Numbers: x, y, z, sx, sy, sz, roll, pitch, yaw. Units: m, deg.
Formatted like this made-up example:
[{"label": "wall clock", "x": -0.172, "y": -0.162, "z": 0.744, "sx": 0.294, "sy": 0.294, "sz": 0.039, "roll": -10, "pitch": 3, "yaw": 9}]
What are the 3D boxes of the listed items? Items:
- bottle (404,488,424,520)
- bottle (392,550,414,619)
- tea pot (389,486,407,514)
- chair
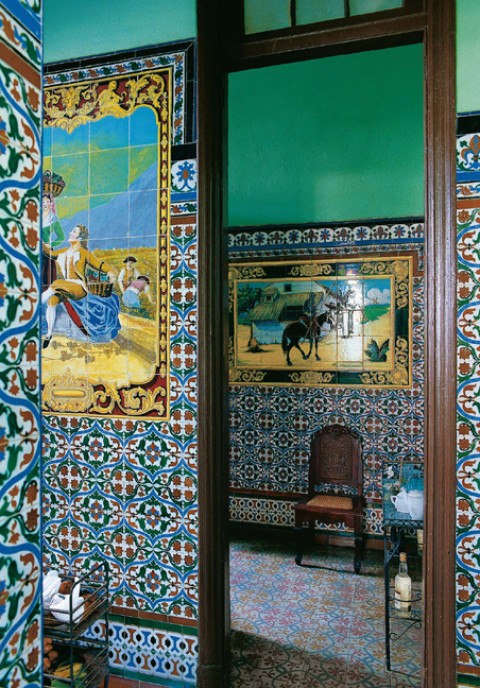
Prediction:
[{"label": "bottle", "x": 0.737, "y": 0.671, "z": 3.509, "sx": 0.051, "sy": 0.120, "sz": 0.100, "roll": -1, "pitch": 4, "yaw": 1}, {"label": "bottle", "x": 0.746, "y": 1.085, "z": 3.817, "sx": 0.073, "sy": 0.325, "sz": 0.254, "roll": 0, "pitch": 5, "yaw": 10}, {"label": "tea pot", "x": 0.691, "y": 0.688, "z": 3.660, "sx": 0.061, "sy": 0.082, "sz": 0.088, "roll": 5, "pitch": -11, "yaw": -22}, {"label": "chair", "x": 0.576, "y": 0.943, "z": 5.260, "sx": 0.431, "sy": 0.785, "sz": 0.702, "roll": 0, "pitch": 4, "yaw": 8}]
